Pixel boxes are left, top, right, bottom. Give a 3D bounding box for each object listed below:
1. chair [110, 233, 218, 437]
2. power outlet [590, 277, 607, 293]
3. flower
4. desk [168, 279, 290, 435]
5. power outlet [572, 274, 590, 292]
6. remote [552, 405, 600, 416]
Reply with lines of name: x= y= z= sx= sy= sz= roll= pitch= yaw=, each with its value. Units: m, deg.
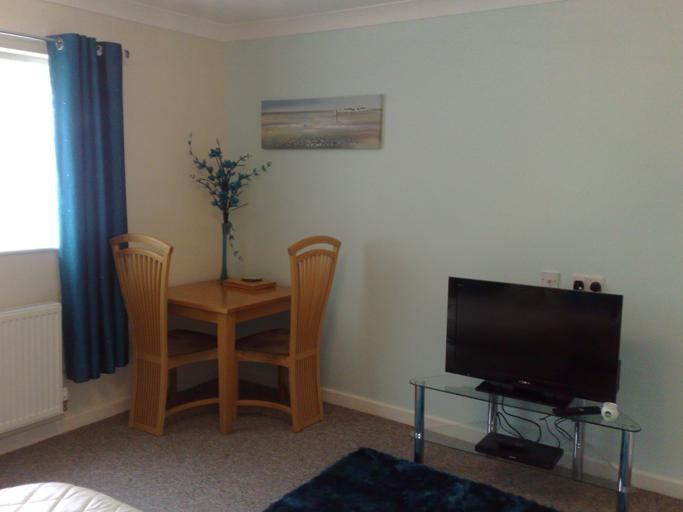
chair: x=-1.260 y=0.494 z=4.002 sx=0.736 sy=1.324 sz=0.538 roll=10 pitch=16 yaw=34
power outlet: x=1.527 y=0.176 z=3.387 sx=0.084 sy=0.087 sz=0.041 roll=-1 pitch=0 yaw=28
flower: x=-0.946 y=-0.520 z=4.627 sx=0.442 sy=0.617 sz=0.448 roll=4 pitch=35 yaw=-21
desk: x=-0.802 y=0.625 z=4.362 sx=0.903 sy=0.888 sz=0.926 roll=6 pitch=11 yaw=36
power outlet: x=1.433 y=0.164 z=3.412 sx=0.075 sy=0.130 sz=0.070 roll=7 pitch=13 yaw=39
remote: x=1.285 y=0.842 z=3.117 sx=0.245 sy=0.034 sz=0.057 roll=-4 pitch=3 yaw=7
